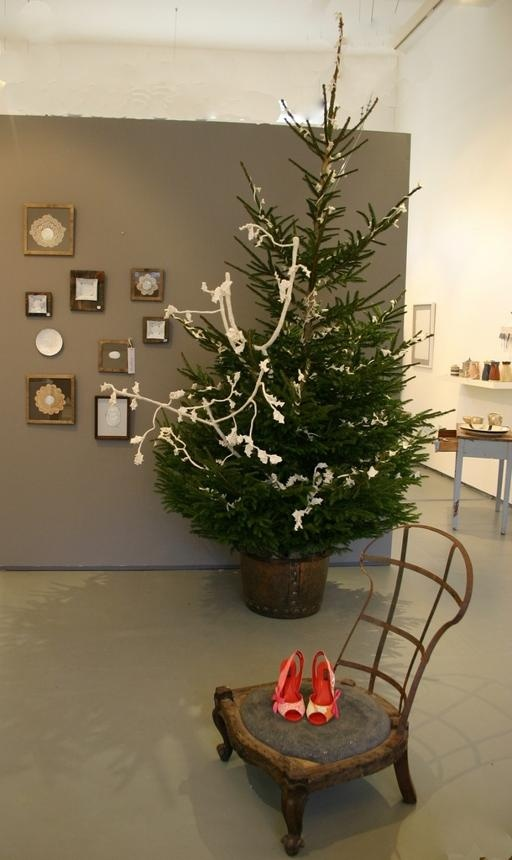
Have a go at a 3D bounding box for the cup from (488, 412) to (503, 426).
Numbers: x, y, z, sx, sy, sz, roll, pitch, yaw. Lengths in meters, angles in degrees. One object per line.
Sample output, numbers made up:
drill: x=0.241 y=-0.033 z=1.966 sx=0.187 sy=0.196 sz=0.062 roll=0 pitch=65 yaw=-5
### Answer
cup: x=1.967 y=-0.087 z=5.187 sx=0.137 sy=0.139 sz=0.109 roll=-2 pitch=0 yaw=37

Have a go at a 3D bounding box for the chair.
chair: x=0.225 y=0.732 z=2.031 sx=0.875 sy=1.028 sz=0.711 roll=1 pitch=8 yaw=-29

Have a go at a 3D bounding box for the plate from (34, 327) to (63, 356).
plate: x=-1.151 y=-0.490 z=3.477 sx=0.142 sy=0.150 sz=0.033 roll=16 pitch=1 yaw=1

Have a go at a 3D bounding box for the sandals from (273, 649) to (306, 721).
sandals: x=0.094 y=0.692 z=1.720 sx=0.062 sy=0.080 sz=0.183 roll=0 pitch=4 yaw=1

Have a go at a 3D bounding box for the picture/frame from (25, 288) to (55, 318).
picture/frame: x=-1.196 y=-0.706 z=3.450 sx=0.144 sy=0.153 sz=0.016 roll=2 pitch=10 yaw=-5

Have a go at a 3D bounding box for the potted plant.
potted plant: x=0.144 y=-0.477 z=2.794 sx=1.323 sy=2.773 sz=1.835 roll=2 pitch=4 yaw=17

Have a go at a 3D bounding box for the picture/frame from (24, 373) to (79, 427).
picture/frame: x=-1.151 y=-0.181 z=3.506 sx=0.263 sy=0.280 sz=0.021 roll=1 pitch=3 yaw=-4

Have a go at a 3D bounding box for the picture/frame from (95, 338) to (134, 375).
picture/frame: x=-0.795 y=-0.422 z=3.501 sx=0.196 sy=0.199 sz=0.016 roll=0 pitch=10 yaw=-4

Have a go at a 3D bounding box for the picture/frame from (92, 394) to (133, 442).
picture/frame: x=-0.799 y=-0.073 z=3.457 sx=0.253 sy=0.324 sz=0.026 roll=0 pitch=2 yaw=-6

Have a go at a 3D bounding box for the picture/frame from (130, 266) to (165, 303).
picture/frame: x=-0.606 y=-0.814 z=3.467 sx=0.183 sy=0.191 sz=0.021 roll=0 pitch=9 yaw=-2

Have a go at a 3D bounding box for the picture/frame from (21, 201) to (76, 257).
picture/frame: x=-1.138 y=-1.108 z=3.410 sx=0.271 sy=0.289 sz=0.021 roll=0 pitch=6 yaw=0
